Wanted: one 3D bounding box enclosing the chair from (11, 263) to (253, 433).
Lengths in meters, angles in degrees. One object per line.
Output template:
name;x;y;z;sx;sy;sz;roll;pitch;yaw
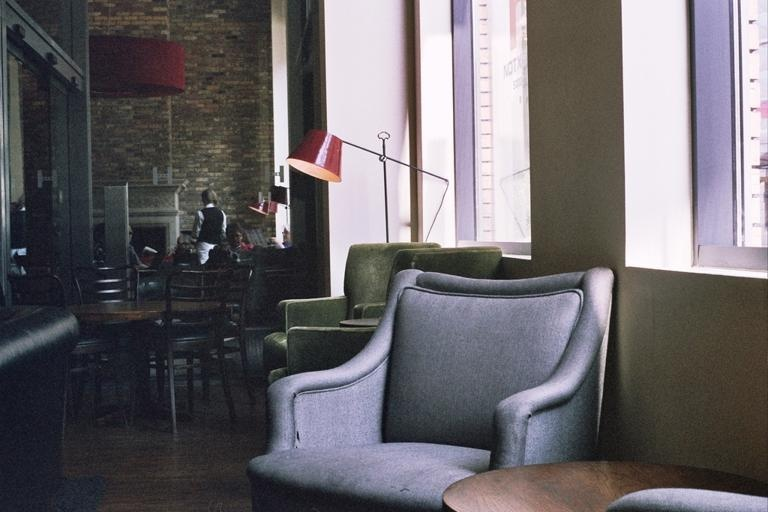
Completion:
chair;-1.649;0.498;5.548;1.149;0.808;1.178;0;-2;-5

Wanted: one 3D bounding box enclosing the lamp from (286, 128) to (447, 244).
lamp;-0.200;-0.451;5.514;1.267;0.804;0.706;-9;14;-38

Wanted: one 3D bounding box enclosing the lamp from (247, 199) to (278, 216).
lamp;-0.819;-0.340;5.698;0.138;0.078;0.109;6;3;-26

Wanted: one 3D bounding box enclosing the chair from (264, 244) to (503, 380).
chair;-0.065;0.258;4.626;0.987;1.034;0.902;2;-5;-12
